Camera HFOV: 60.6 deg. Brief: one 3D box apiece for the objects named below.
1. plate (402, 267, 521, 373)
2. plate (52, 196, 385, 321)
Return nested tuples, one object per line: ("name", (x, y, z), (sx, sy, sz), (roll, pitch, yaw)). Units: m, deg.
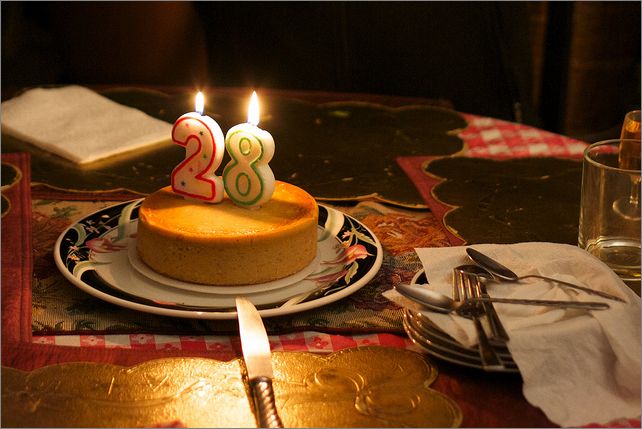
("plate", (0.207, 0.161, 0.832), (0.163, 0.085, 0.231), (3, 22, 7))
("plate", (-0.191, 0.067, 1.027), (0.604, 0.076, 0.408), (3, 22, 8))
